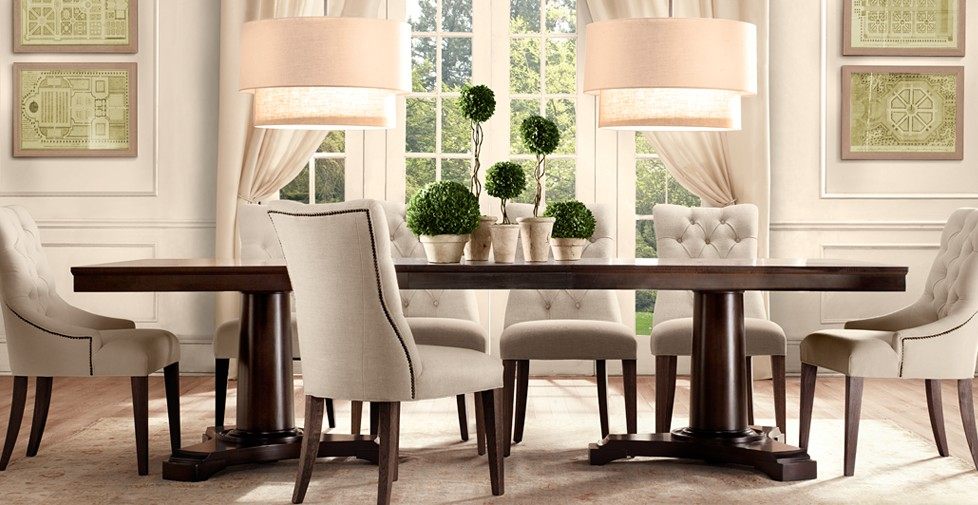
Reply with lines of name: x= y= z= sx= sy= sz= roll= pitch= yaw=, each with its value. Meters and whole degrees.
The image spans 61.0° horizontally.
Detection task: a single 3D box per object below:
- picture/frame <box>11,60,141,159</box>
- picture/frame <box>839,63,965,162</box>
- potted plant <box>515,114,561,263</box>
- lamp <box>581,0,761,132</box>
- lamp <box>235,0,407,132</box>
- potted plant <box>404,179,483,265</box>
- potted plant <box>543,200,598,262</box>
picture/frame: x=-3.736 y=-1.294 z=7.502 sx=1.377 sy=0.850 sz=0.059 roll=4 pitch=6 yaw=17
picture/frame: x=3.777 y=-1.269 z=7.538 sx=1.332 sy=0.866 sz=0.059 roll=-4 pitch=8 yaw=-17
potted plant: x=0.308 y=-0.442 z=5.608 sx=0.428 sy=0.933 sz=0.337 roll=0 pitch=4 yaw=-17
lamp: x=1.162 y=-1.166 z=5.696 sx=1.029 sy=0.761 sz=0.900 roll=0 pitch=0 yaw=-9
lamp: x=-1.114 y=-1.146 z=5.604 sx=0.982 sy=0.736 sz=0.906 roll=1 pitch=2 yaw=23
potted plant: x=-0.278 y=-0.186 z=5.495 sx=0.636 sy=0.500 sz=0.539 roll=0 pitch=-4 yaw=0
potted plant: x=0.480 y=-0.152 z=5.599 sx=0.402 sy=0.358 sz=0.386 roll=2 pitch=1 yaw=-43
